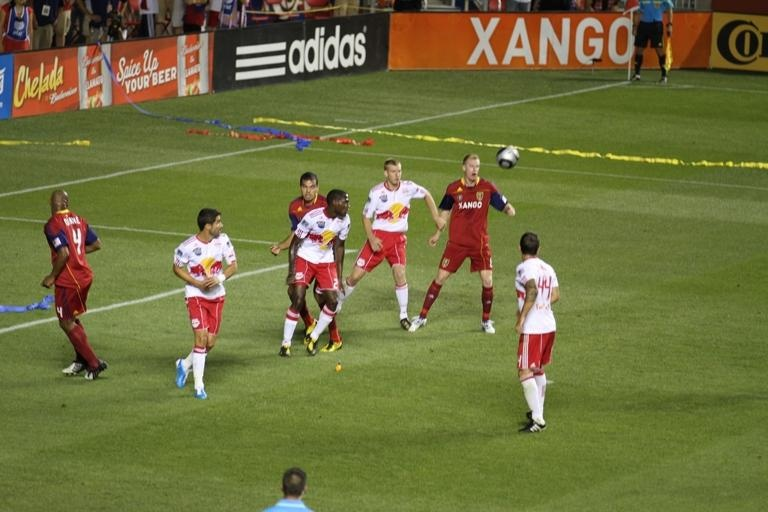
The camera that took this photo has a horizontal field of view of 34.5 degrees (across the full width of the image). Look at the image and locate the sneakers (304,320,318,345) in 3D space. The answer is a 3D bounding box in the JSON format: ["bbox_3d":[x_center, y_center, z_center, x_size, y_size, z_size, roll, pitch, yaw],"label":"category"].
[{"bbox_3d":[-1.188,1.195,19.803,0.146,0.455,0.190,4,-8,36],"label":"sneakers"}]

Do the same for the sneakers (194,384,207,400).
[{"bbox_3d":[-2.683,2.010,18.137,0.141,0.167,0.234,-2,3,-33],"label":"sneakers"}]

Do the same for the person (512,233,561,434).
[{"bbox_3d":[2.157,1.060,17.537,0.575,2.741,0.948,1,12,7],"label":"person"}]

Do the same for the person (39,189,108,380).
[{"bbox_3d":[-4.675,0.418,18.560,0.819,2.799,0.955,-4,13,-15],"label":"person"}]

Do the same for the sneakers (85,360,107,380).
[{"bbox_3d":[-4.301,1.742,18.525,0.439,0.183,0.205,-36,-41,30],"label":"sneakers"}]

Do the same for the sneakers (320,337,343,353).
[{"bbox_3d":[-0.850,1.428,19.693,0.334,0.147,0.185,-22,17,-3],"label":"sneakers"}]

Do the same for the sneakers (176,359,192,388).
[{"bbox_3d":[-2.988,1.759,18.408,0.230,0.537,0.177,6,11,22],"label":"sneakers"}]

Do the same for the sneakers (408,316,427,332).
[{"bbox_3d":[0.553,1.127,20.558,0.131,0.166,0.382,-6,2,24],"label":"sneakers"}]

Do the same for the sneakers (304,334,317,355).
[{"bbox_3d":[-1.178,1.406,19.518,0.121,0.362,0.162,0,-4,0],"label":"sneakers"}]

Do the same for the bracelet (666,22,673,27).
[{"bbox_3d":[9.240,-7.687,39.952,0.225,0.164,0.307,3,9,11],"label":"bracelet"}]

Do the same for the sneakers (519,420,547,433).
[{"bbox_3d":[2.102,2.426,17.495,0.410,0.184,0.155,2,10,9],"label":"sneakers"}]

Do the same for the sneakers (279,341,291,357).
[{"bbox_3d":[-1.554,1.475,19.465,0.132,0.115,0.246,6,6,-4],"label":"sneakers"}]

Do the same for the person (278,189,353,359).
[{"bbox_3d":[-1.072,0.245,19.351,1.030,2.612,0.415,-1,12,-4],"label":"person"}]

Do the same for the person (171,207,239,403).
[{"bbox_3d":[-2.661,0.639,18.294,0.930,2.742,1.065,-3,13,-9],"label":"person"}]

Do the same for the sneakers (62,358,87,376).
[{"bbox_3d":[-4.657,1.683,18.720,0.375,0.203,0.190,-3,30,-3],"label":"sneakers"}]

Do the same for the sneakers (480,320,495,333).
[{"bbox_3d":[1.736,1.155,20.447,0.223,0.187,0.203,0,13,3],"label":"sneakers"}]
